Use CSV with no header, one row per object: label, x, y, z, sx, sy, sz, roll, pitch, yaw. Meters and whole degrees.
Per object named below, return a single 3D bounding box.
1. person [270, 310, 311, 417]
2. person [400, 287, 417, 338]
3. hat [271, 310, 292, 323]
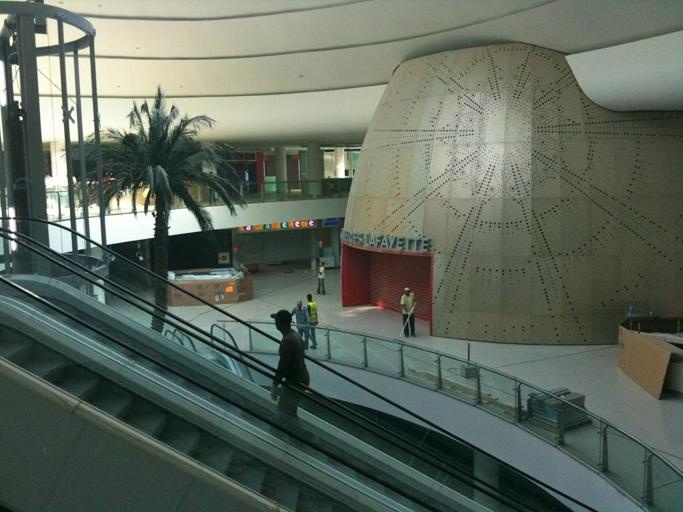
person,-0.721,1.386,8.683,0.503,1.132,1.180,0,12,-4
person,2.226,1.808,20.909,0.463,1.840,1.136,2,11,7
hat,-0.896,0.845,8.938,0.267,0.172,0.200,21,17,33
